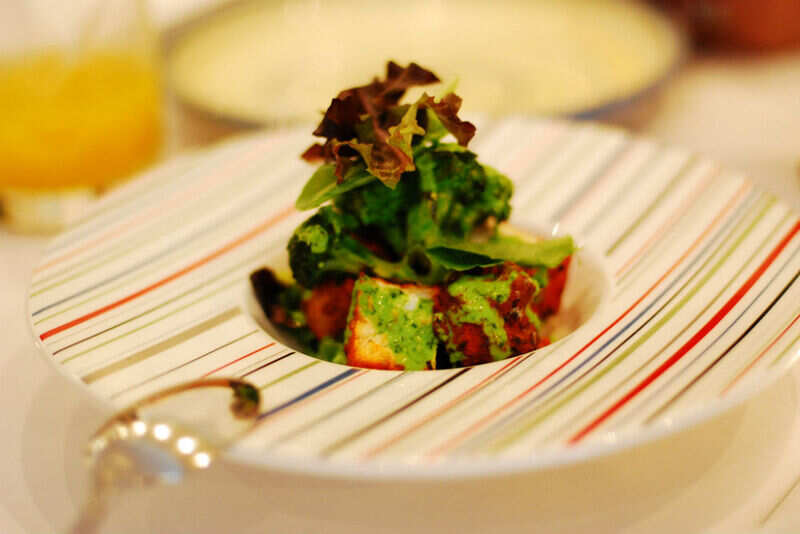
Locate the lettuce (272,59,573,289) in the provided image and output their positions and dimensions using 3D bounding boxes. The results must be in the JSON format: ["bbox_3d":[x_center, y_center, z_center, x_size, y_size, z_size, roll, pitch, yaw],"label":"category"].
[{"bbox_3d":[0.030,-0.165,1.850,0.629,0.548,0.418,-14,58,15],"label":"lettuce"}]
